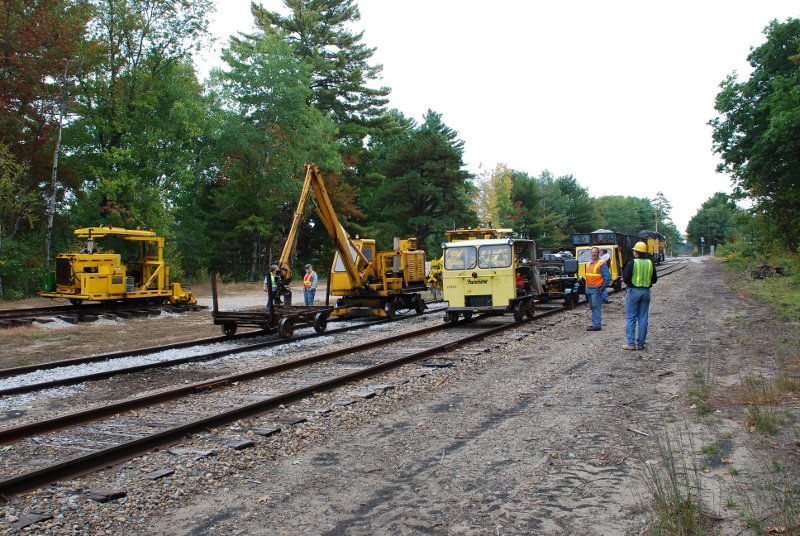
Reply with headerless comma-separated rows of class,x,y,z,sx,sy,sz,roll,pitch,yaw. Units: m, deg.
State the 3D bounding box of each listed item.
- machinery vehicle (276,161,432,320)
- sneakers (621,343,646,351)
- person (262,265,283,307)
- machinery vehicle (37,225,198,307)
machinery vehicle,-1.883,-0.622,20.779,2.865,5.010,7.706,-2,-2,30
sneakers,5.690,1.931,13.095,0.448,0.180,0.180,3,3,24
person,-3.889,0.577,16.661,0.495,1.485,2.178,-3,6,-13
machinery vehicle,-12.772,0.019,25.123,3.380,3.130,5.797,9,5,27
